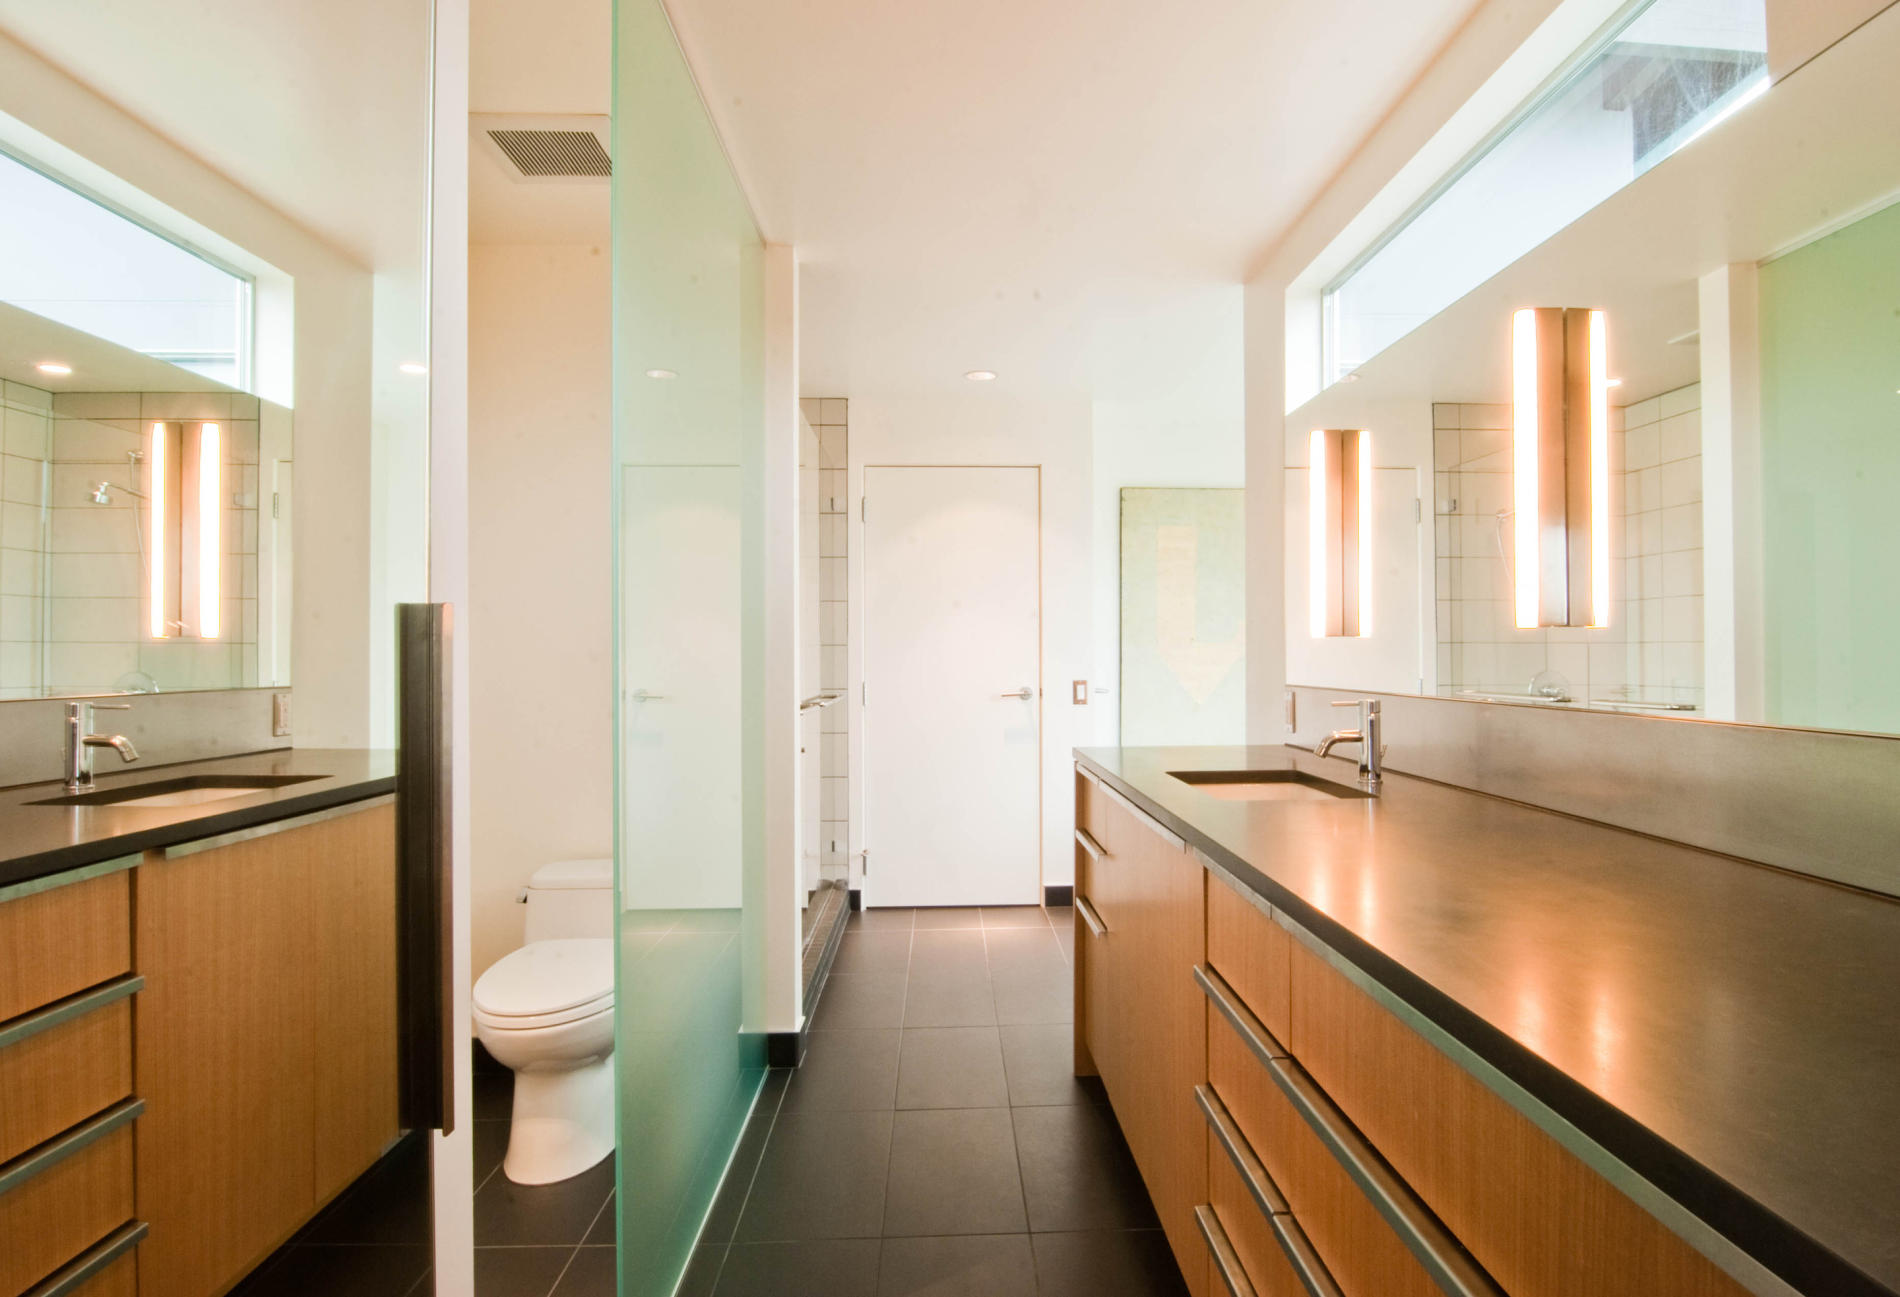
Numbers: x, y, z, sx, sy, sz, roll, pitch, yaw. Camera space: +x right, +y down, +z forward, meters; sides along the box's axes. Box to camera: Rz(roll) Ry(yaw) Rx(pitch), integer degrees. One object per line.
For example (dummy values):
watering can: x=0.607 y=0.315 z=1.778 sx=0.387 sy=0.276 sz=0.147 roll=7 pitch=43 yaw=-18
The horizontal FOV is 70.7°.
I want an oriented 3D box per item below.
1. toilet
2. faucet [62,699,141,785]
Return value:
toilet: x=-0.905 y=0.835 z=3.098 sx=0.377 sy=0.585 sz=0.664 roll=-2 pitch=-1 yaw=5
faucet: x=-0.861 y=0.093 z=1.348 sx=0.065 sy=0.081 sz=0.033 roll=1 pitch=10 yaw=-6
